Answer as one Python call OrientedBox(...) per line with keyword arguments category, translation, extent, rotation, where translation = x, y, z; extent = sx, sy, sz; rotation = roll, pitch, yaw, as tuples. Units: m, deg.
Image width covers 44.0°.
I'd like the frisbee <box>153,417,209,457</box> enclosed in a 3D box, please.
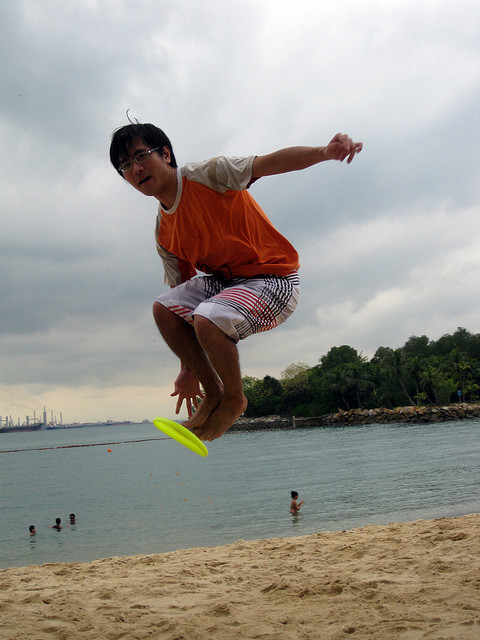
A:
OrientedBox(category="frisbee", translation=(-0.478, 0.942, 4.779), extent=(0.371, 0.317, 0.509), rotation=(-3, -10, -17))
